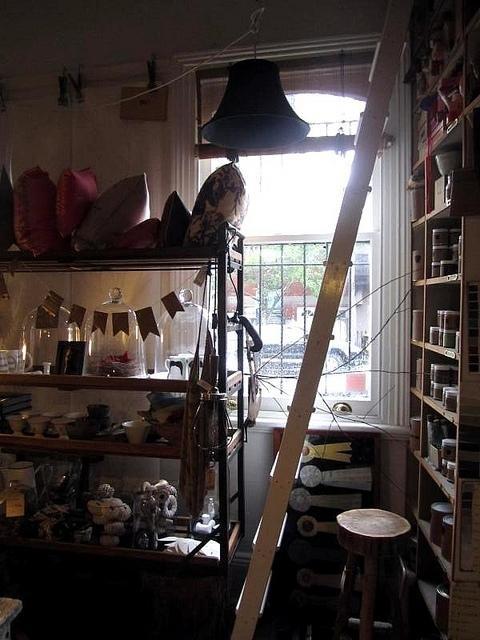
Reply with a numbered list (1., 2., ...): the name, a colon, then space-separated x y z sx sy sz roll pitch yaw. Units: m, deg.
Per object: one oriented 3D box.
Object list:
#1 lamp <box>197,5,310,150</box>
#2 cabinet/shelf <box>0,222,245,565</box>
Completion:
1. lamp: 0.031 -0.704 1.885 0.362 0.538 0.359 -2 -4 -5
2. cabinet/shelf: -0.464 0.325 2.191 1.088 1.580 0.442 0 -1 17
